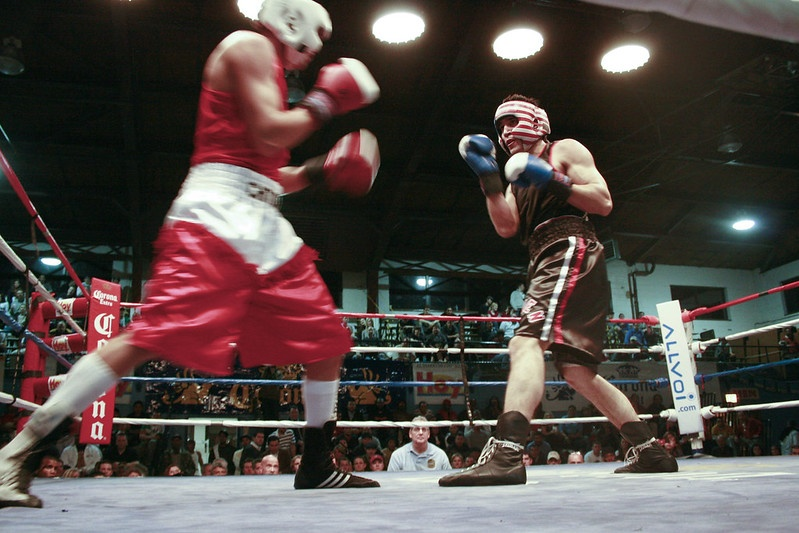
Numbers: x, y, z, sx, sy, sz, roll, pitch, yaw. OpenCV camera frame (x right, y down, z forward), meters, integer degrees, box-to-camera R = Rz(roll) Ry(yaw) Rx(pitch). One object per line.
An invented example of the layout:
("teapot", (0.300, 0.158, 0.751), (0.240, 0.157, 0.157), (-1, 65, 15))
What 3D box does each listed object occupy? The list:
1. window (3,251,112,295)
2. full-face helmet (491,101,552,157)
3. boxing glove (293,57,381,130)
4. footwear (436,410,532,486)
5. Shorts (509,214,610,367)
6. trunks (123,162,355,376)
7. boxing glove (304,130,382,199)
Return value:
("window", (-5.824, 0.113, 9.729), (1.281, 0.628, 0.221), (0, -42, -9))
("full-face helmet", (0.634, -0.729, 2.925), (0.320, 0.178, 0.194), (3, 8, -18))
("boxing glove", (-0.241, -0.688, 2.297), (0.379, 0.209, 0.159), (-36, 0, -4))
("footwear", (0.349, 0.751, 2.352), (0.371, 0.300, 0.131), (0, -18, 3))
("Shorts", (0.757, 0.101, 2.654), (0.383, 0.700, 0.214), (12, -21, -33))
("trunks", (-0.577, 0.024, 2.221), (0.284, 0.792, 0.659), (-14, -22, 39))
("boxing glove", (-0.227, -0.403, 2.472), (0.230, 0.150, 0.425), (40, -39, -19))
